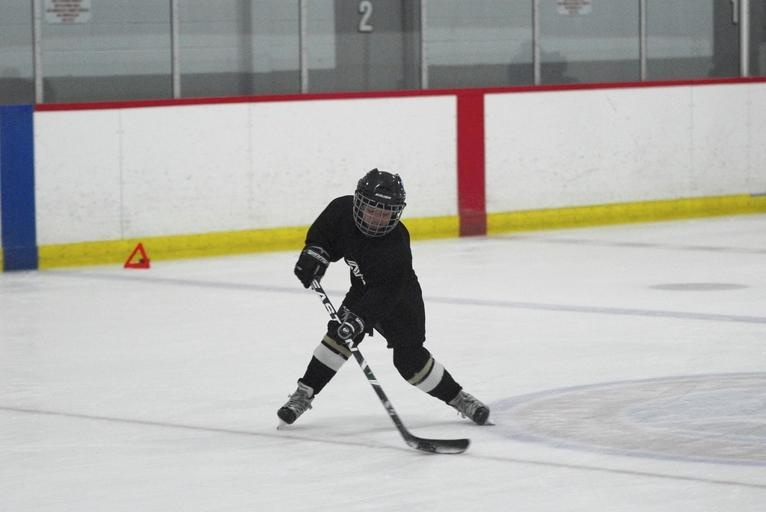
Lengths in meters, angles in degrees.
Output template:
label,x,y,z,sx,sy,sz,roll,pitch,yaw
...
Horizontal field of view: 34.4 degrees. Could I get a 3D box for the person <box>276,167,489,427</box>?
label,x,y,z,sx,sy,sz,roll,pitch,yaw
person,0.041,0.244,5.994,1.191,1.229,0.791,7,8,5

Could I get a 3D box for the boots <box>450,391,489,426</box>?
label,x,y,z,sx,sy,sz,roll,pitch,yaw
boots,0.416,0.754,6.106,0.145,0.081,0.207,13,6,-19

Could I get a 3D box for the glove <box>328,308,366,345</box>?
label,x,y,z,sx,sy,sz,roll,pitch,yaw
glove,-0.183,0.333,5.958,0.162,0.078,0.189,17,14,-12

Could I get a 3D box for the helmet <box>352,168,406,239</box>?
label,x,y,z,sx,sy,sz,roll,pitch,yaw
helmet,-0.028,-0.257,5.934,0.248,0.316,0.235,-2,13,-2

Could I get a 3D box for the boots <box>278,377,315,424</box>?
label,x,y,z,sx,sy,sz,roll,pitch,yaw
boots,-0.447,0.703,6.111,0.097,0.132,0.315,41,23,2

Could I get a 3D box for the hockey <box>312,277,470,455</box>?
label,x,y,z,sx,sy,sz,roll,pitch,yaw
hockey,-0.094,0.490,6.182,0.350,0.144,1.745,0,26,-27
